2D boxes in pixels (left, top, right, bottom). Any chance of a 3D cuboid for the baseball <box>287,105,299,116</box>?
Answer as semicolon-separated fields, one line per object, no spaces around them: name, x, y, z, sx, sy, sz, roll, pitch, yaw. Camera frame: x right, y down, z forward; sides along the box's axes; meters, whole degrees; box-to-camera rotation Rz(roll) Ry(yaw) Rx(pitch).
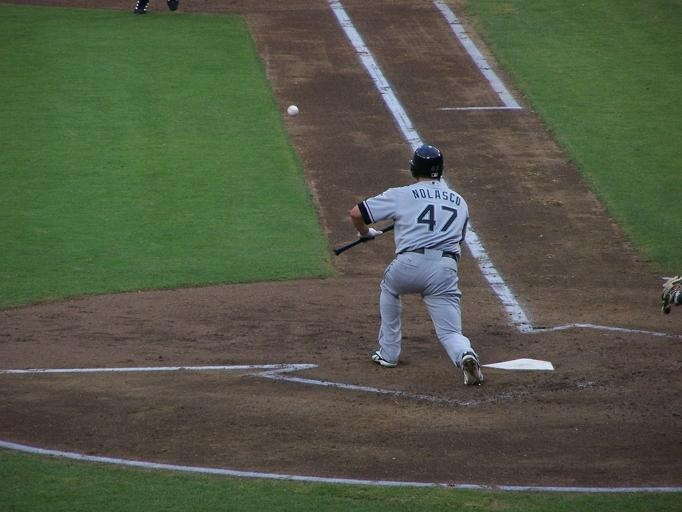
baseball;-0.865;-2.599;27.715;0.222;0.182;0.113;29;22;13

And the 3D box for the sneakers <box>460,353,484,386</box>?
sneakers;1.829;1.552;21.061;0.269;0.482;0.252;-7;22;8

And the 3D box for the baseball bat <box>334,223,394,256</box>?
baseball bat;0.358;-0.221;23.634;1.209;0.155;0.179;-18;17;3

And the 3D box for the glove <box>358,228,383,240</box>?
glove;0.427;-0.312;21.511;0.217;0.070;0.212;-20;-17;31

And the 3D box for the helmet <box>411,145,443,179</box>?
helmet;1.187;-1.312;21.451;0.522;0.400;0.477;2;34;-4

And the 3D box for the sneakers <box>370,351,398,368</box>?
sneakers;0.585;1.451;21.600;0.420;0.151;0.178;20;25;39
